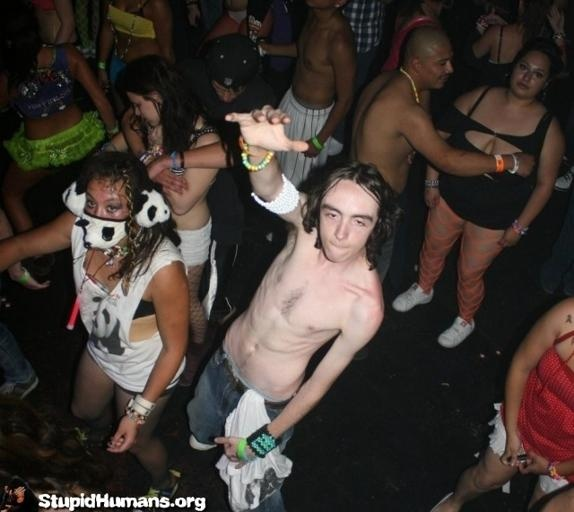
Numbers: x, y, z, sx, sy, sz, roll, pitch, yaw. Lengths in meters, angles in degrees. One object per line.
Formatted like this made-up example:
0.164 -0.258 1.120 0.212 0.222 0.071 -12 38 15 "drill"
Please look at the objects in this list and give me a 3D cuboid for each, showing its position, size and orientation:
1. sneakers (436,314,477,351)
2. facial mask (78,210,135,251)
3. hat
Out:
1.421 0.600 4.246 0.377 0.165 0.164 -37 48 -18 "sneakers"
-0.896 -0.108 2.452 0.242 0.169 0.105 6 45 -1 "facial mask"
-0.355 -1.248 3.316 0.333 0.210 0.332 -1 47 -8 "hat"
